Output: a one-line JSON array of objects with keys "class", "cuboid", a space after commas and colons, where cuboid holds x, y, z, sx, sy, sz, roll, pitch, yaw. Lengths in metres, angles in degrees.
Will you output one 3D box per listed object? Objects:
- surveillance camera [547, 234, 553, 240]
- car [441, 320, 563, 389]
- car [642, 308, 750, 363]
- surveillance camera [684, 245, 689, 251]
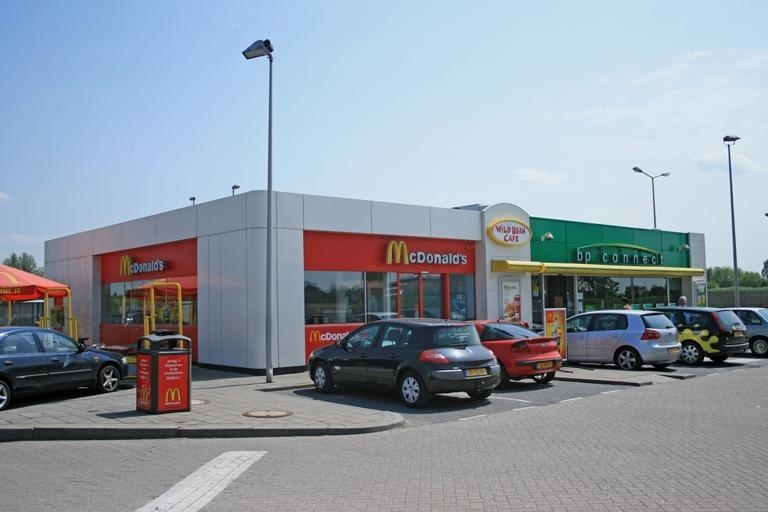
[{"class": "surveillance camera", "cuboid": [7.510, -0.894, 28.837, 0.247, 0.281, 0.295, -4, -3, 9]}, {"class": "car", "cuboid": [3.076, 2.549, 17.427, 1.367, 1.115, 2.734, 2, -2, -44]}, {"class": "car", "cuboid": [10.806, 2.568, 22.184, 3.182, 1.352, 1.839, 0, -2, 39]}, {"class": "surveillance camera", "cuboid": [17.429, -0.508, 36.657, 0.297, 0.271, 0.248, -6, 2, -14]}]
